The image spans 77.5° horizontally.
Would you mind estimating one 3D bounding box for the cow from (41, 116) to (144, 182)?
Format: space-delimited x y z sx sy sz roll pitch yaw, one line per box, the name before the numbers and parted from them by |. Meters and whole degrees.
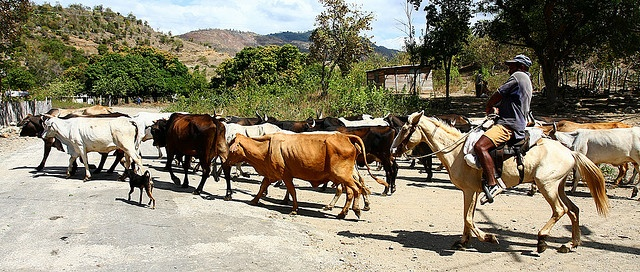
cow | -13.166 0.576 23.423 7.008 3.559 1.605 0 2 10
